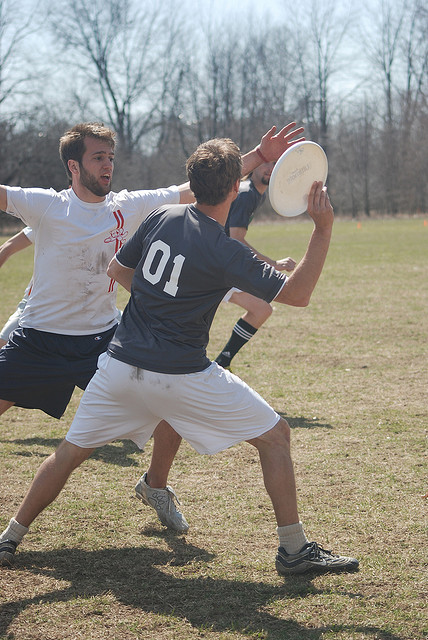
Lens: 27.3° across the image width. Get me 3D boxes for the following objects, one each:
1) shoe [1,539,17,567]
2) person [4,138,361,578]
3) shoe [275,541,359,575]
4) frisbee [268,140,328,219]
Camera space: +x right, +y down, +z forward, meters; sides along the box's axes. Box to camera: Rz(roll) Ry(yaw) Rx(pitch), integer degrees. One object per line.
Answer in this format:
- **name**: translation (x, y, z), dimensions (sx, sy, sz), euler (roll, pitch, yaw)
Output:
- **shoe**: translation (-0.928, 1.047, 3.983), dimensions (0.052, 0.054, 0.139), euler (5, -2, -11)
- **person**: translation (-0.095, 0.182, 3.930), dimensions (1.461, 1.934, 0.406), euler (1, 13, 6)
- **shoe**: translation (0.448, 1.087, 4.046), dimensions (0.430, 0.150, 0.137), euler (-1, -3, -4)
- **frisbee**: translation (0.388, -0.710, 4.266), dimensions (0.048, 0.345, 0.391), euler (28, 36, 28)
